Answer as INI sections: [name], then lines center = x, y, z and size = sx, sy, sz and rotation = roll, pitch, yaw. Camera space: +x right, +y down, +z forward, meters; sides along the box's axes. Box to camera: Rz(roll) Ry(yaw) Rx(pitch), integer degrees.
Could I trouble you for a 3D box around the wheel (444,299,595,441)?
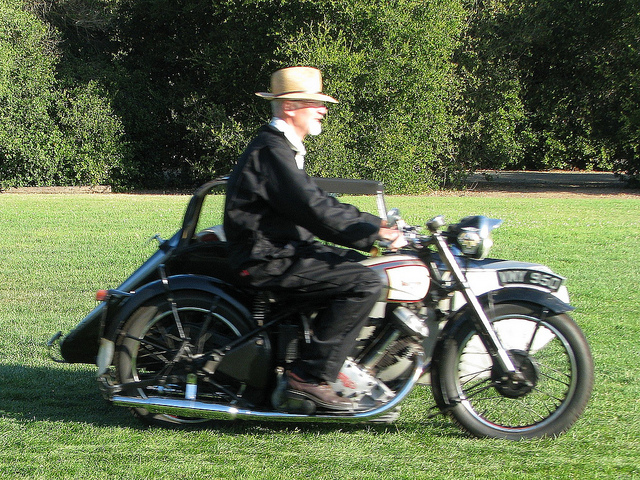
[wheel]
center = 2.258, 1.526, 9.290
size = 0.445, 1.589, 2.251
rotation = 14, -11, -35
